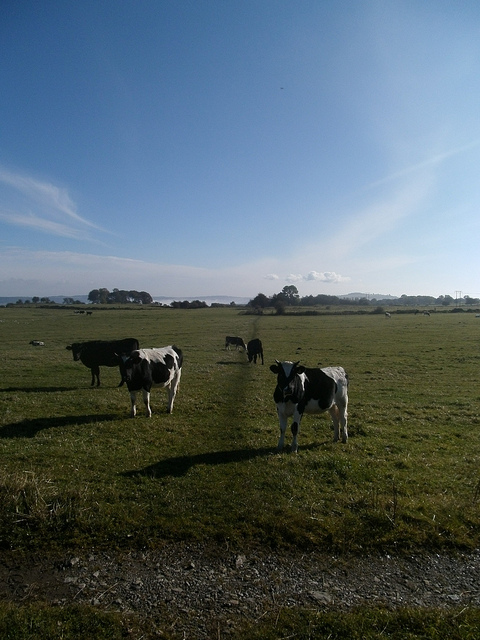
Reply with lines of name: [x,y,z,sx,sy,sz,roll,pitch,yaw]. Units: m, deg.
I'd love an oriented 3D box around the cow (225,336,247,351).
cow: [-0.429,2.228,41.871,1.618,1.277,3.809,2,7,2]

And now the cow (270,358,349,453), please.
cow: [2.029,2.495,12.988,3.196,2.618,0.887,5,5,-39]

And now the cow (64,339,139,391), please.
cow: [-6.487,2.108,21.581,3.315,2.525,1.252,-3,-3,-37]

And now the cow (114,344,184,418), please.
cow: [-3.117,2.213,15.922,0.883,2.645,3.765,1,-4,26]

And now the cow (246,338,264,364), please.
cow: [1.209,2.377,33.355,1.177,1.705,2.375,2,7,4]
